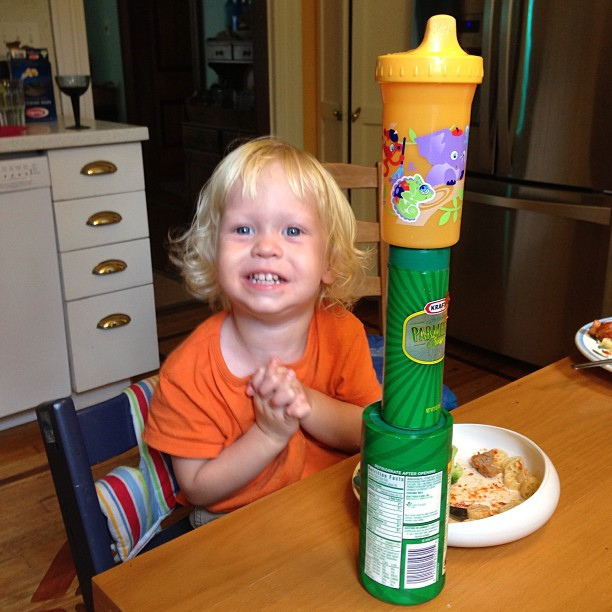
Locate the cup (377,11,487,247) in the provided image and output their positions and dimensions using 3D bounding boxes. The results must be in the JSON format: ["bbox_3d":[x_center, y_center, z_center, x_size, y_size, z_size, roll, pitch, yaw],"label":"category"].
[{"bbox_3d":[0.077,-0.108,0.350,0.062,0.139,0.065,-2,23,1],"label":"cup"}]

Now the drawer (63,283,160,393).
[{"bbox_3d":[-0.822,0.091,2.369,0.427,0.368,0.426,-14,15,-40],"label":"drawer"}]

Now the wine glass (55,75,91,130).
[{"bbox_3d":[-0.966,-0.861,2.313,0.170,0.205,0.172,24,34,36],"label":"wine glass"}]

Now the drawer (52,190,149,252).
[{"bbox_3d":[-0.709,-0.339,2.328,0.593,0.189,0.568,-5,2,-15],"label":"drawer"}]
